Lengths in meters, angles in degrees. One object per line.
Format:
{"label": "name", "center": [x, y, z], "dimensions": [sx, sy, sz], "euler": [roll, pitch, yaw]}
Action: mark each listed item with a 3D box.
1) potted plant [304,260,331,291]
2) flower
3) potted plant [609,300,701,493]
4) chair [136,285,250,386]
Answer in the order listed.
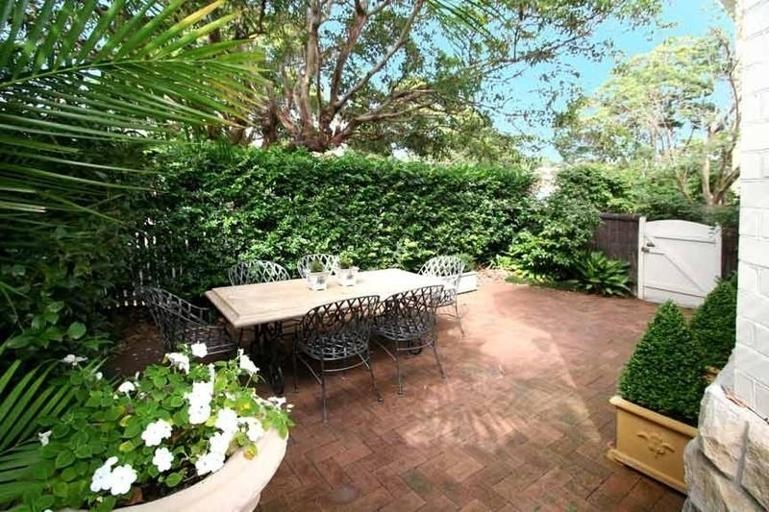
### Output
{"label": "potted plant", "center": [-0.733, 0.198, 4.614], "dimensions": [0.310, 0.383, 0.328], "euler": [1, 3, -11]}
{"label": "flower", "center": [-0.919, 0.740, 1.854], "dimensions": [0.897, 0.386, 0.603], "euler": [4, 45, -37]}
{"label": "potted plant", "center": [1.939, 0.944, 3.082], "dimensions": [0.525, 1.192, 0.511], "euler": [10, 18, 36]}
{"label": "chair", "center": [-1.647, 0.661, 3.752], "dimensions": [1.083, 0.698, 0.795], "euler": [-5, 18, -27]}
